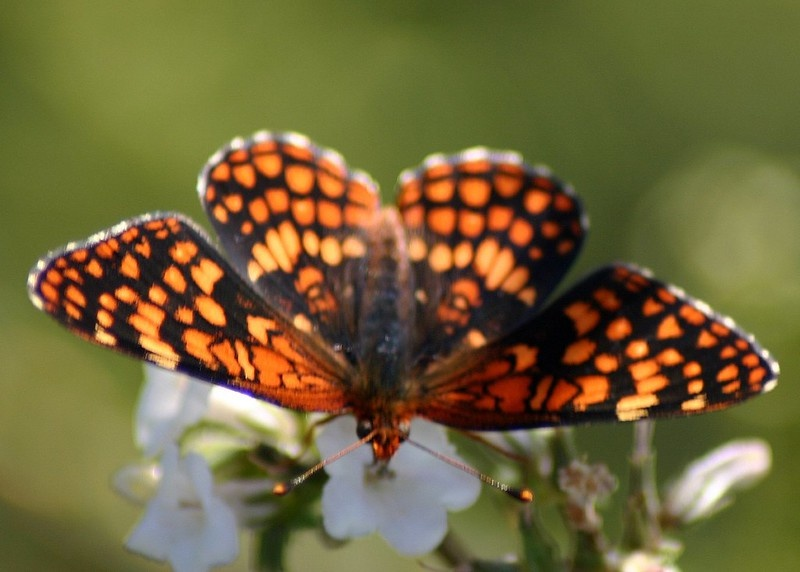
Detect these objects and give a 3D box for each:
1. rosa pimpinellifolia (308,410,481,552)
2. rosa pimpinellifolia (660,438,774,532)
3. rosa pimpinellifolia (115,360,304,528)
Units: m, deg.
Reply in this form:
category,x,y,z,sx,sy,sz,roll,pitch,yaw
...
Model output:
category,x,y,z,sx,sy,sz,roll,pitch,yaw
rosa pimpinellifolia,-0.023,0.655,3.377,0.349,0.526,0.334,-5,10,-20
rosa pimpinellifolia,1.009,0.631,3.464,0.385,0.323,0.094,12,-12,-20
rosa pimpinellifolia,-0.638,0.499,3.549,0.448,0.529,0.213,12,-7,-11
